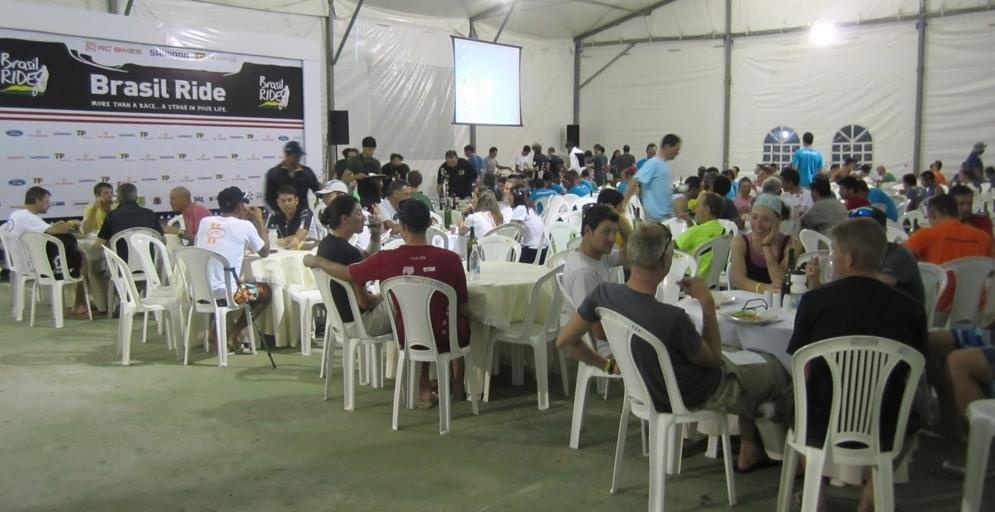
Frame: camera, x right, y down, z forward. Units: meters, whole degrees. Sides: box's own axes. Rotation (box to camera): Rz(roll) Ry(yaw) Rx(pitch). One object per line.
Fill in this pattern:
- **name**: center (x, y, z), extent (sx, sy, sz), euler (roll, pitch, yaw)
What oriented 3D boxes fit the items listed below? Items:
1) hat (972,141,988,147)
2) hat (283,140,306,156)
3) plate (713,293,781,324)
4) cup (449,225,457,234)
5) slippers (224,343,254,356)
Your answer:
- **hat**: center (11.703, -2.715, 16.527), extent (0.421, 0.106, 0.302), euler (-15, 6, -36)
- **hat**: center (-2.919, -1.581, 9.924), extent (0.331, 0.157, 0.232), euler (-11, 19, -41)
- **plate**: center (2.400, 0.487, 6.556), extent (0.540, 0.234, 0.638), euler (1, 4, 18)
- **cup**: center (-0.653, -0.384, 9.787), extent (0.127, 0.118, 0.120), euler (1, -1, 0)
- **slippers**: center (-3.236, 1.180, 8.585), extent (0.415, 0.145, 0.121), euler (-1, 0, 0)
